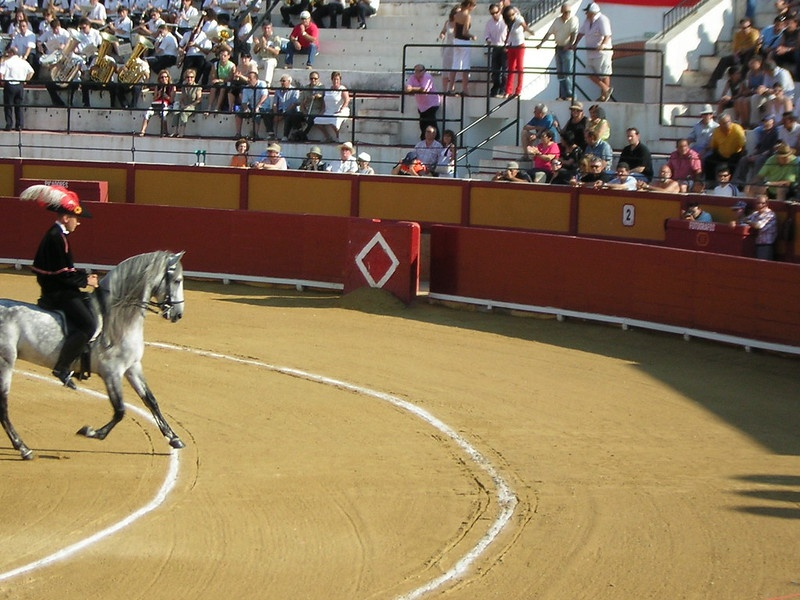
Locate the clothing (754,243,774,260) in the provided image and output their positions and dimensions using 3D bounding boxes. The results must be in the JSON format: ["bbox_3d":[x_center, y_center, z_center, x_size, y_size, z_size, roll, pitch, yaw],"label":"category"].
[{"bbox_3d":[5.818,-0.766,22.570,0.493,0.245,0.266,4,-2,4],"label":"clothing"}]

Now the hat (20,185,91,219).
[{"bbox_3d":[-4.209,-1.240,17.157,0.667,0.214,0.473,9,16,-35],"label":"hat"}]

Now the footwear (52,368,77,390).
[{"bbox_3d":[-4.290,0.990,17.977,0.168,0.175,0.524,27,7,-17],"label":"footwear"}]

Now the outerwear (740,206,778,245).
[{"bbox_3d":[5.846,-1.203,22.686,0.522,0.629,0.547,-5,8,-13],"label":"outerwear"}]

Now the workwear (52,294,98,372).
[{"bbox_3d":[-4.005,0.418,17.197,0.539,1.036,0.278,0,6,-12],"label":"workwear"}]
